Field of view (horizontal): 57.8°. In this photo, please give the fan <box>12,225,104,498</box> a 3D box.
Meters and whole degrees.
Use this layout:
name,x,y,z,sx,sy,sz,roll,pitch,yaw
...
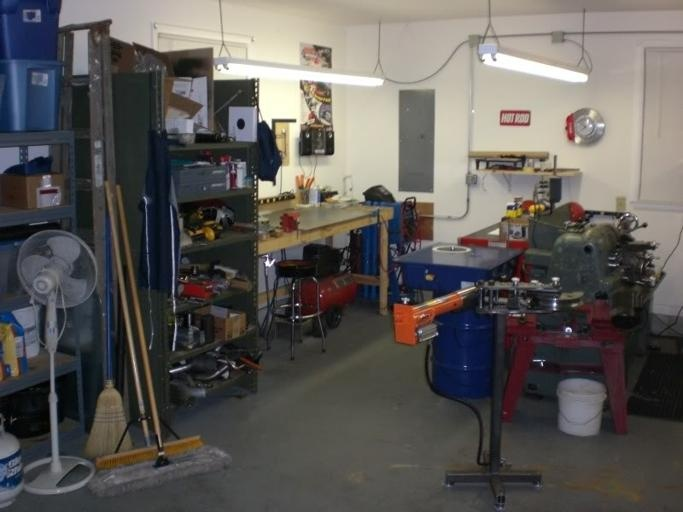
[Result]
name,x,y,z,sx,sy,sz,roll,pitch,yaw
fan,-1.917,0.685,4.064,0.512,1.637,0.552,-1,14,-2

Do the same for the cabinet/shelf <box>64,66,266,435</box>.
name,x,y,z,sx,sy,sz,roll,pitch,yaw
cabinet/shelf,-1.417,-0.204,5.063,0.885,3.381,1.265,5,10,35

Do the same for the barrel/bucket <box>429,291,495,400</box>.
name,x,y,z,sx,sy,sz,roll,pitch,yaw
barrel/bucket,0.985,0.806,5.101,0.488,0.788,0.223,2,14,8

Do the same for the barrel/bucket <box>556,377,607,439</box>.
name,x,y,z,sx,sy,sz,roll,pitch,yaw
barrel/bucket,1.785,1.143,4.686,0.349,0.364,0.372,-2,10,0
